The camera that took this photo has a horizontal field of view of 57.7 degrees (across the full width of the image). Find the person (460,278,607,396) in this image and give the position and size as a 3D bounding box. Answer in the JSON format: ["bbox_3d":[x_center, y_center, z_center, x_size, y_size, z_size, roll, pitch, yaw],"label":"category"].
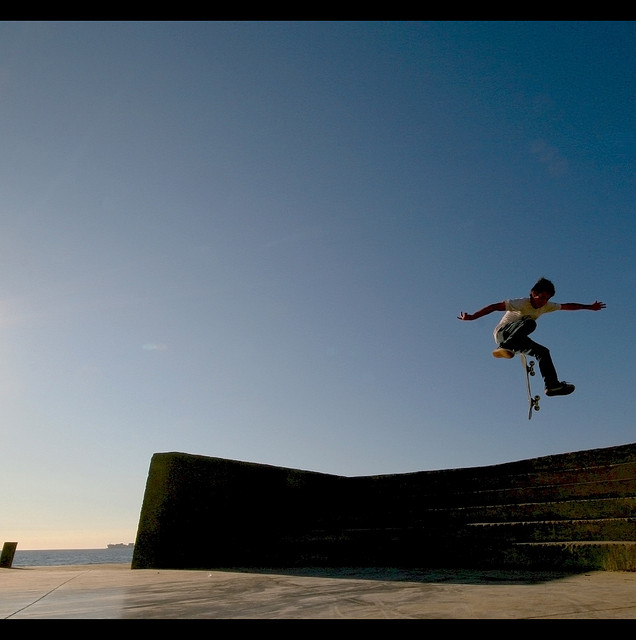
[{"bbox_3d":[2.482,0.196,6.717,1.775,1.300,0.722,8,-21,-6],"label":"person"}]

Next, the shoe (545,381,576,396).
[{"bbox_3d":[2.677,0.778,6.435,0.317,0.180,0.180,-18,-31,34],"label":"shoe"}]

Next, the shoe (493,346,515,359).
[{"bbox_3d":[2.249,0.383,6.971,0.214,0.151,0.200,1,-25,-1],"label":"shoe"}]
